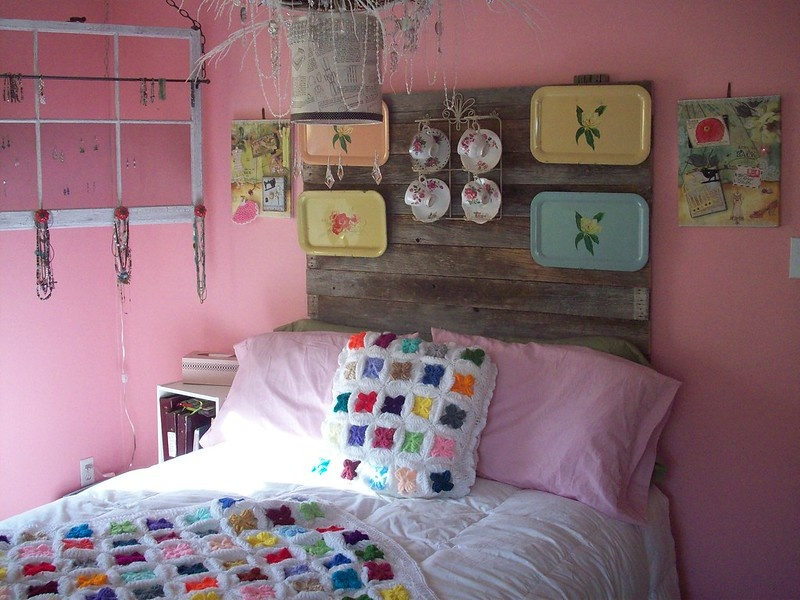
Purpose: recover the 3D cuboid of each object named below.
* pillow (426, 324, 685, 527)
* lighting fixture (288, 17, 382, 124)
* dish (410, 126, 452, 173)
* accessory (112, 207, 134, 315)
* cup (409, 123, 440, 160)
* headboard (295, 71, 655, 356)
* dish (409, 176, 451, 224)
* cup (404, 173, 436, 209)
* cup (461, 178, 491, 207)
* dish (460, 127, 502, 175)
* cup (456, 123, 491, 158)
[{"bbox_3d":[0.581,0.374,2.143,0.825,0.523,0.209,17,8,23],"label":"pillow"},{"bbox_3d":[-0.146,-0.582,1.575,0.240,0.249,0.251,-2,8,14],"label":"lighting fixture"},{"bbox_3d":[0.132,-0.639,2.665,0.204,0.091,0.217,8,3,5],"label":"dish"},{"bbox_3d":[-1.407,-0.217,3.134,0.102,0.516,0.192,-1,0,-7],"label":"accessory"},{"bbox_3d":[0.115,-0.668,2.641,0.126,0.121,0.161,-22,-20,-7],"label":"cup"},{"bbox_3d":[0.365,-0.359,2.495,1.157,0.896,0.030,2,5,27],"label":"headboard"},{"bbox_3d":[0.075,-0.440,2.693,0.217,0.109,0.247,-17,12,21],"label":"dish"},{"bbox_3d":[0.082,-0.464,2.619,0.094,0.108,0.116,34,18,19],"label":"cup"},{"bbox_3d":[0.329,-0.448,2.542,0.128,0.124,0.105,9,11,43],"label":"cup"},{"bbox_3d":[0.334,-0.614,2.477,0.166,0.184,0.065,7,18,-4],"label":"dish"},{"bbox_3d":[0.303,-0.656,2.532,0.095,0.140,0.107,-5,10,-38],"label":"cup"}]
